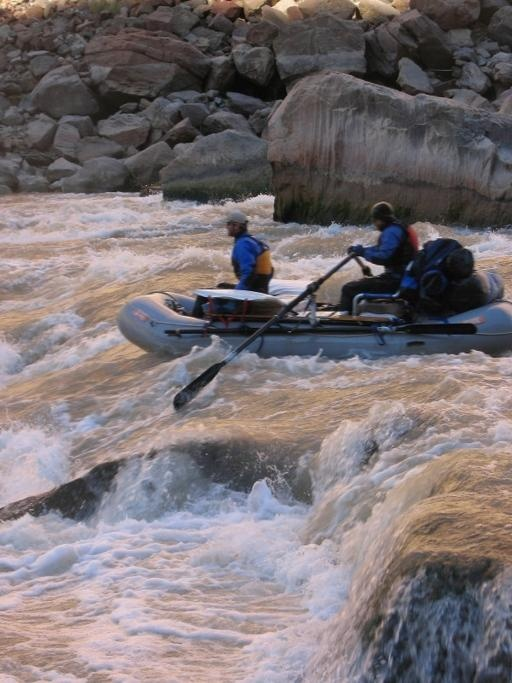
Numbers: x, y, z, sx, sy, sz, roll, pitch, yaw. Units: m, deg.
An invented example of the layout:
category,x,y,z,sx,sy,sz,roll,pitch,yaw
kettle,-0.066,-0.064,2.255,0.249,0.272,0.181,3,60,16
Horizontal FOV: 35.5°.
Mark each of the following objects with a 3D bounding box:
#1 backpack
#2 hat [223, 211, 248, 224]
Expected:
category,x,y,z,sx,sy,sz,roll,pitch,yaw
backpack,1.572,-0.552,7.033,0.621,0.553,0.463,30,31,7
hat,-0.178,-1.188,7.733,0.180,0.105,0.243,14,19,30
